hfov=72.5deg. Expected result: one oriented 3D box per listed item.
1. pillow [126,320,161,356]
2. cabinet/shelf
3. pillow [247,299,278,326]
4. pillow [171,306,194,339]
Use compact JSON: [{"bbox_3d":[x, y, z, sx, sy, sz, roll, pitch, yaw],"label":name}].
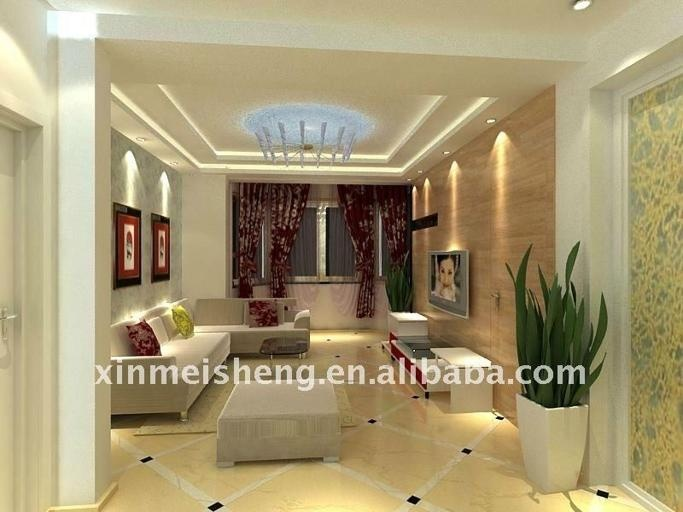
[{"bbox_3d":[-2.038,0.868,4.843,0.280,0.475,0.137,-6,-26,-44],"label":"pillow"},{"bbox_3d":[1.132,1.252,5.652,0.744,0.601,1.923,-1,6,-7],"label":"cabinet/shelf"},{"bbox_3d":[-1.192,0.872,6.988,0.340,0.351,0.128,-2,-4,-3],"label":"pillow"},{"bbox_3d":[-2.098,0.852,6.149,0.097,0.396,0.262,-30,-22,18],"label":"pillow"}]
